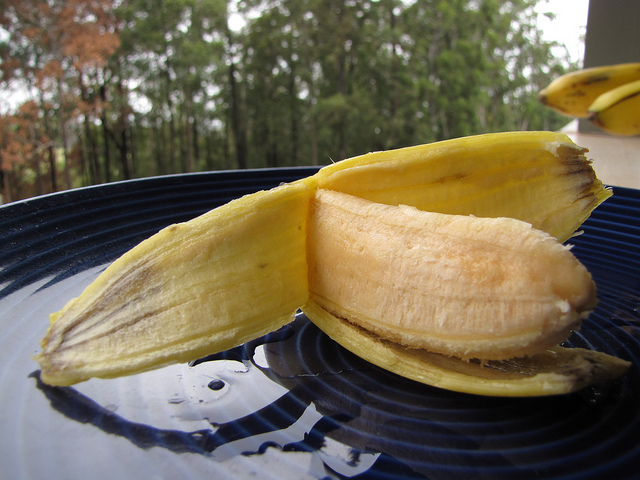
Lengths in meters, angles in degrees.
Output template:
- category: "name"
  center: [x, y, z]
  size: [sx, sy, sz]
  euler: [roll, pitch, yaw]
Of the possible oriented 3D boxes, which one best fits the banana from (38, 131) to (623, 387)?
- category: "banana"
  center: [0.023, 0.013, 0.444]
  size: [0.468, 0.172, 0.167]
  euler: [-4, 8, -1]
